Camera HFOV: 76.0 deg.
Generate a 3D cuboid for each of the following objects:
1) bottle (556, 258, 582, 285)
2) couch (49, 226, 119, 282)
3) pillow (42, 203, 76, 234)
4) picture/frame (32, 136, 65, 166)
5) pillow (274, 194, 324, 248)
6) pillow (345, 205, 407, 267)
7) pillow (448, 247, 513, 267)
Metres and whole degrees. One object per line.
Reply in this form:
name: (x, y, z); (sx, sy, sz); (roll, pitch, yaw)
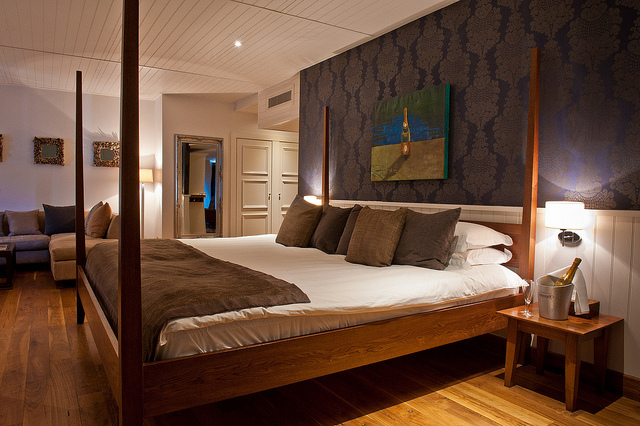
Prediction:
bottle: (2.035, 0.482, 3.370); (0.160, 0.234, 0.128); (-8, 14, -41)
couch: (-3.392, 0.614, 5.847); (0.781, 0.446, 1.108); (-1, 3, -30)
pillow: (-4.453, 0.121, 6.919); (0.479, 0.456, 0.173); (3, -23, -33)
picture/frame: (-5.018, -1.139, 7.463); (0.570, 0.609, 0.068); (0, 0, -36)
pillow: (-0.241, 0.142, 4.830); (0.158, 0.522, 0.525); (21, 1, -33)
pillow: (0.552, 0.218, 3.927); (0.570, 0.547, 0.176); (-2, -26, 46)
pillow: (1.520, 0.411, 3.851); (0.326, 0.094, 0.272); (-3, -1, -12)
